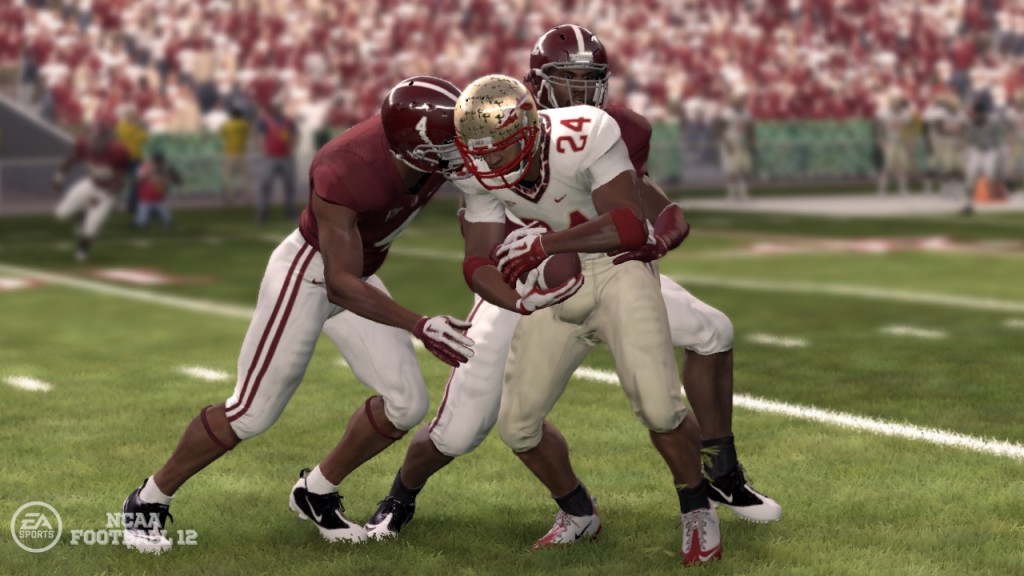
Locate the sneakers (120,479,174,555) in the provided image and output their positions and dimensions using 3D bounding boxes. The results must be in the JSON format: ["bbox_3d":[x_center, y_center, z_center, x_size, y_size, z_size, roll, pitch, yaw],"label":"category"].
[{"bbox_3d":[-2.249,1.410,7.000,0.299,0.435,0.184,1,9,-10],"label":"sneakers"}]

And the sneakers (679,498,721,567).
[{"bbox_3d":[1.130,1.484,6.835,0.177,0.392,0.175,-7,-29,25],"label":"sneakers"}]

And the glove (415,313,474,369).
[{"bbox_3d":[-0.359,0.338,6.820,0.410,0.352,0.242,-6,12,-43],"label":"glove"}]

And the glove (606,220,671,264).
[{"bbox_3d":[0.795,-0.304,6.835,0.338,0.178,0.503,2,8,-13],"label":"glove"}]

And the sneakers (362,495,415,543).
[{"bbox_3d":[-0.761,1.444,7.181,0.245,0.181,0.455,13,21,14],"label":"sneakers"}]

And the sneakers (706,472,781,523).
[{"bbox_3d":[1.469,1.311,7.229,0.243,0.267,0.607,-6,10,-41],"label":"sneakers"}]
